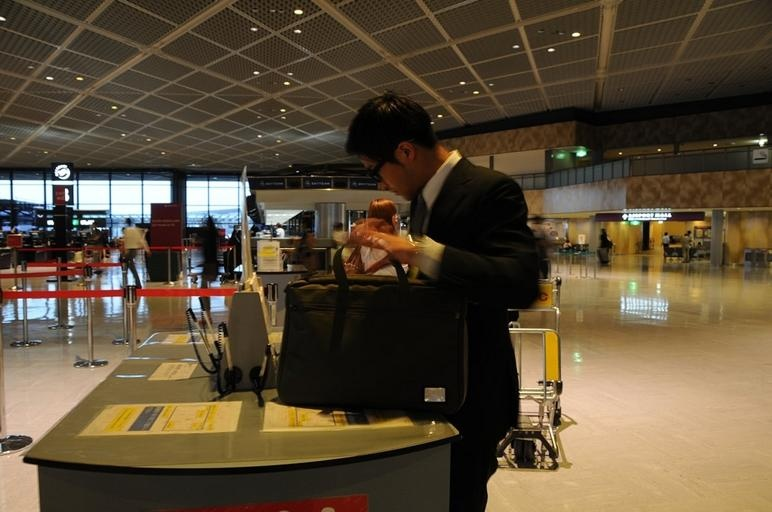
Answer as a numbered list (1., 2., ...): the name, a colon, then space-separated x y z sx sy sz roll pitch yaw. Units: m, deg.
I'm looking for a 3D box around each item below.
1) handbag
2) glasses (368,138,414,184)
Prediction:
1. handbag: -0.124 0.343 2.091 0.942 0.537 0.356 12 -15 -34
2. glasses: 0.007 -0.388 2.070 0.051 0.150 0.133 34 -1 3
